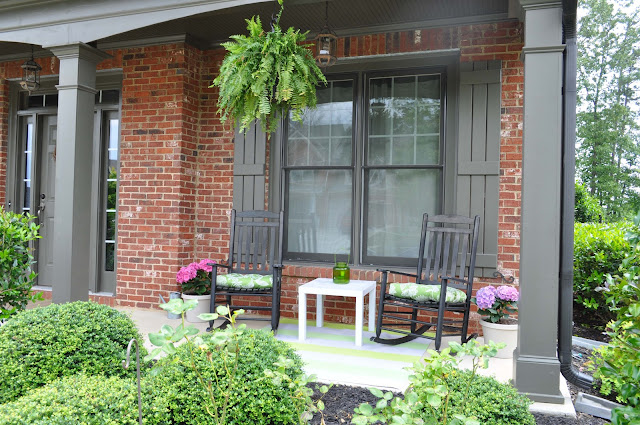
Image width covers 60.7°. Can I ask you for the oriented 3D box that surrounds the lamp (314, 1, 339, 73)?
[{"bbox_3d":[0.073,-1.902,5.905,0.214,0.727,0.590,2,2,1],"label":"lamp"}]

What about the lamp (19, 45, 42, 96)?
[{"bbox_3d":[-3.630,-1.810,6.872,0.226,0.542,0.202,3,0,-36],"label":"lamp"}]

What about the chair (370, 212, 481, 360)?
[{"bbox_3d":[1.199,0.723,5.744,1.170,1.459,1.040,1,1,-20],"label":"chair"}]

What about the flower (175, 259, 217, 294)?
[{"bbox_3d":[-1.480,0.777,6.480,0.447,0.323,0.447,-2,-4,-2],"label":"flower"}]

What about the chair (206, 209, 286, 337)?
[{"bbox_3d":[-0.781,0.640,6.159,0.945,1.341,0.938,2,1,30],"label":"chair"}]

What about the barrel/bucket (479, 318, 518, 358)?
[{"bbox_3d":[1.842,1.323,5.697,0.356,0.239,0.243,3,2,15],"label":"barrel/bucket"}]

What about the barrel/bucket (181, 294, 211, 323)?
[{"bbox_3d":[-1.474,1.145,6.437,0.362,0.329,0.290,2,2,-5],"label":"barrel/bucket"}]

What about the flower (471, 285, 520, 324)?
[{"bbox_3d":[1.828,0.936,5.700,0.393,0.404,0.405,-1,-7,-6],"label":"flower"}]

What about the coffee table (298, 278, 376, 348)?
[{"bbox_3d":[0.207,1.061,6.066,0.824,0.602,0.857,2,2,7],"label":"coffee table"}]

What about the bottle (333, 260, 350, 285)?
[{"bbox_3d":[0.235,0.676,5.953,0.208,0.237,0.209,-2,-6,28],"label":"bottle"}]
